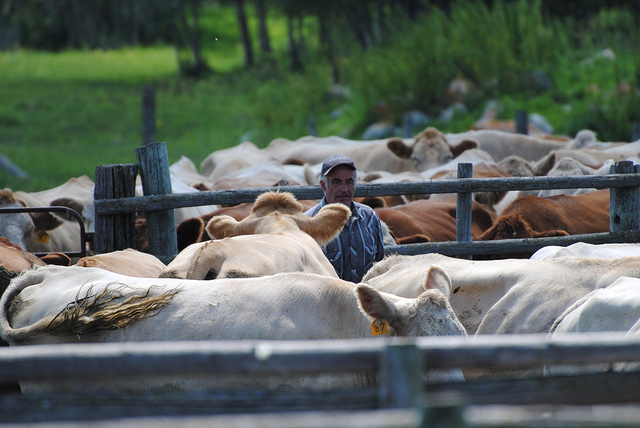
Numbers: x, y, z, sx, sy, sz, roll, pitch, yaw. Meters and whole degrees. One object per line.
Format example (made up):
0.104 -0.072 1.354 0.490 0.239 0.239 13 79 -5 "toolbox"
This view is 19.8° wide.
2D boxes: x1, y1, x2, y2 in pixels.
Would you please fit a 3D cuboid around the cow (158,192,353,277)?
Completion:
-1.031 0.422 30.244 1.481 1.563 2.422 13 22 37 "cow"

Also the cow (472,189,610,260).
4.094 0.109 32.624 3.108 1.523 1.013 3 5 -35 "cow"
